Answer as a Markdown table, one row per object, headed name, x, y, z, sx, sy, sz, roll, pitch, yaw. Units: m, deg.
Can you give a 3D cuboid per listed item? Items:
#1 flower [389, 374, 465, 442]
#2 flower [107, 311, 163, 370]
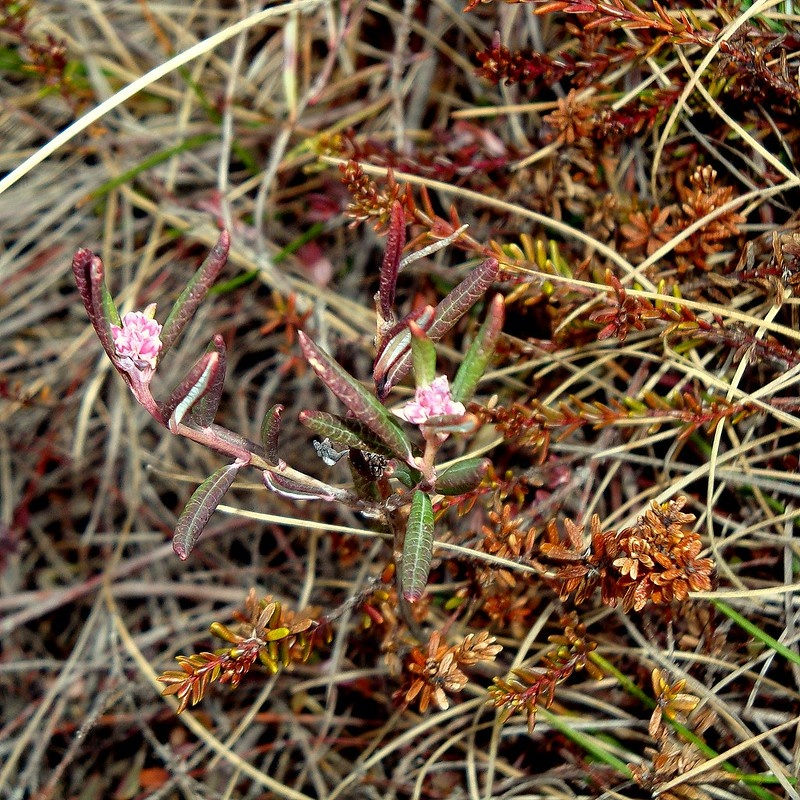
| name | x | y | z | sx | sy | sz | roll | pitch | yaw |
| --- | --- | --- | --- | --- | --- | --- | --- | --- | --- |
| flower | 0.051 | 0.018 | 1.644 | 0.103 | 0.063 | 0.104 | -21 | 69 | -6 |
| flower | -0.465 | -0.107 | 1.706 | 0.085 | 0.050 | 0.099 | 29 | 88 | -24 |
